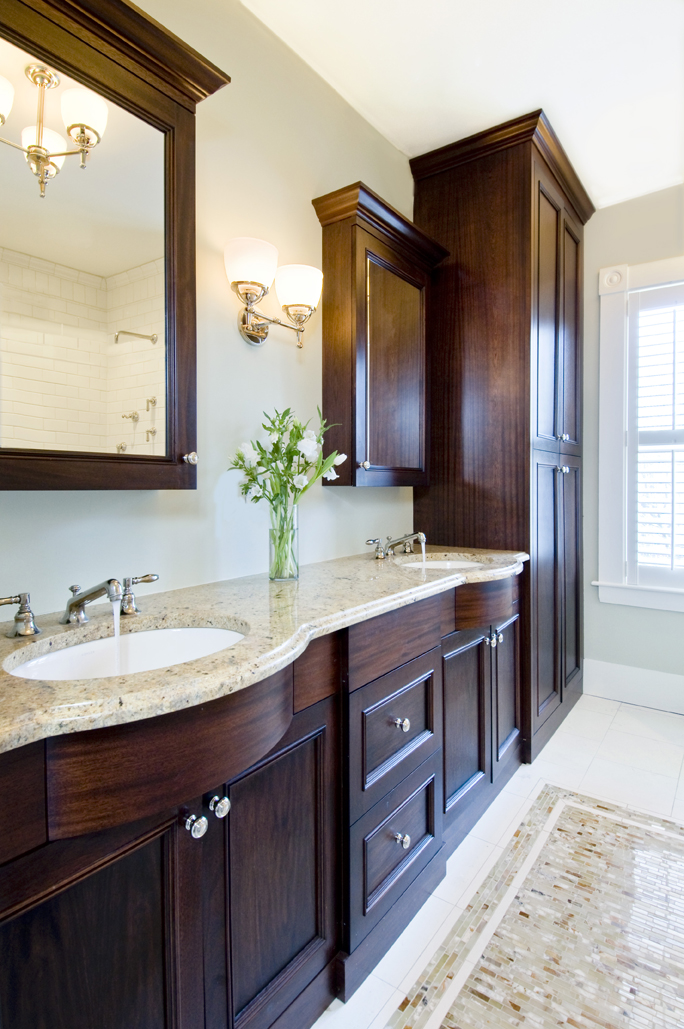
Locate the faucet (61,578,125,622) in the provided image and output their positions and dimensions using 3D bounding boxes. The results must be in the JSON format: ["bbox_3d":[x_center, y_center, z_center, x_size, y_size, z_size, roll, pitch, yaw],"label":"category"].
[{"bbox_3d":[-0.482,0.164,1.427,0.171,0.118,0.062,-1,-1,38],"label":"faucet"}]

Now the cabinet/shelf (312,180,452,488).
[{"bbox_3d":[0.119,-0.547,2.455,0.236,0.908,0.637,3,6,29],"label":"cabinet/shelf"}]

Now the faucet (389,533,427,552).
[{"bbox_3d":[0.244,0.102,2.608,0.058,0.082,0.189,0,-4,-21],"label":"faucet"}]
